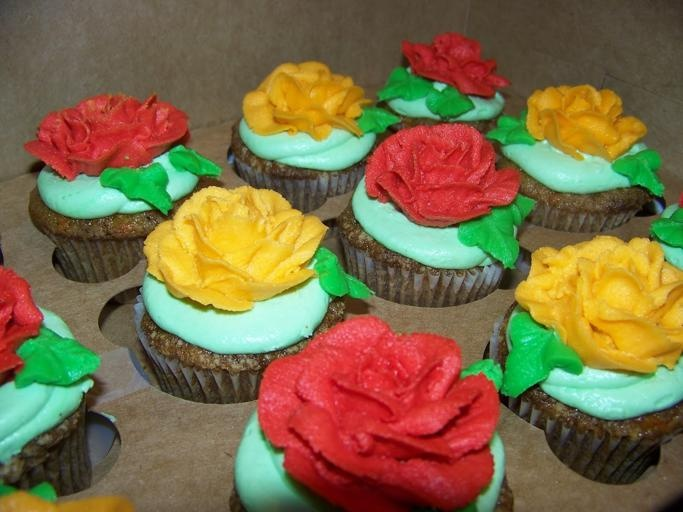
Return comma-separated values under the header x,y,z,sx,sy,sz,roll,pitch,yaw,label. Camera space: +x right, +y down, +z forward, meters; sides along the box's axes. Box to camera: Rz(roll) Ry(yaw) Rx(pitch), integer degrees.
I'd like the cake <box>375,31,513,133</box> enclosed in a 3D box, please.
x,y,z,sx,sy,sz,roll,pitch,yaw,label
0.578,-1.044,4.263,0.628,0.450,0.654,-23,47,-25,cake
